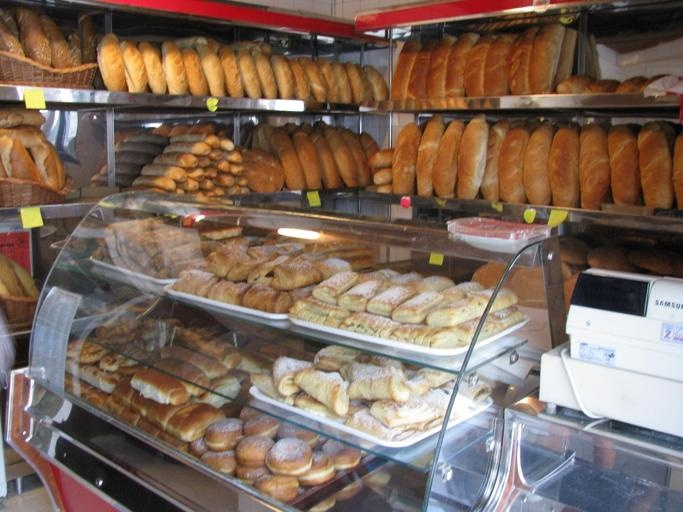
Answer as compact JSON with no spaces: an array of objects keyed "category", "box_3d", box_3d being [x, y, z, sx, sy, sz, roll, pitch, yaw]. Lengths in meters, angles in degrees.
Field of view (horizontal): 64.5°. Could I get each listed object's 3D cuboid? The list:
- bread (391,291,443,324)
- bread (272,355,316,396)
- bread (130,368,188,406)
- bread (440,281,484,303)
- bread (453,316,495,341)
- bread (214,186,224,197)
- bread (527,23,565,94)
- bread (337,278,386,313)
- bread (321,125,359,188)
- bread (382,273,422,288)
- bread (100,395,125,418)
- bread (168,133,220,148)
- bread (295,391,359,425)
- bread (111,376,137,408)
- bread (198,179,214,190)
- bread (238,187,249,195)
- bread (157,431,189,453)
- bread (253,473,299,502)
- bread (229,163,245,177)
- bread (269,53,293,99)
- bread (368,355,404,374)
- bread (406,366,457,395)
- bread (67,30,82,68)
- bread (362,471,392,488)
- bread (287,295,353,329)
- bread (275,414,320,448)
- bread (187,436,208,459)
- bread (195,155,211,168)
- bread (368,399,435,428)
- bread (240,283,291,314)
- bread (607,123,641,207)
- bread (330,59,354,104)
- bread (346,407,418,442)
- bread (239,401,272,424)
[{"category":"bread","box_3d":[0.184,0.126,1.336,0.103,0.033,0.075,-30,19,-21]},{"category":"bread","box_3d":[-0.137,0.330,1.481,0.106,0.101,0.035,0,-14,29]},{"category":"bread","box_3d":[-0.587,0.425,1.735,0.219,0.096,0.073,8,-10,37]},{"category":"bread","box_3d":[0.293,0.088,1.324,0.092,0.028,0.043,-22,30,-10]},{"category":"bread","box_3d":[0.304,0.166,1.239,0.081,0.047,0.053,1,14,13]},{"category":"bread","box_3d":[-0.742,-0.389,3.270,0.066,0.065,0.021,17,-24,-20]},{"category":"bread","box_3d":[1.103,-1.068,2.920,0.138,0.364,0.212,6,16,34]},{"category":"bread","box_3d":[0.044,0.100,1.424,0.068,0.037,0.115,8,33,39]},{"category":"bread","box_3d":[-0.014,-0.702,3.885,0.152,0.533,0.147,3,-27,-38]},{"category":"bread","box_3d":[0.170,0.064,1.444,0.046,0.017,0.061,10,17,42]},{"category":"bread","box_3d":[-0.774,0.510,1.834,0.086,0.047,0.026,27,28,36]},{"category":"bread","box_3d":[-0.869,-0.681,3.199,0.191,0.044,0.050,2,43,30]},{"category":"bread","box_3d":[-0.051,0.390,1.386,0.099,0.028,0.074,25,20,20]},{"category":"bread","box_3d":[-0.733,0.461,1.822,0.085,0.041,0.090,29,27,-25]},{"category":"bread","box_3d":[-0.806,-0.426,3.203,0.067,0.044,0.069,-15,26,-30]},{"category":"bread","box_3d":[-0.600,-0.401,3.329,0.048,0.044,0.021,5,-15,-38]},{"category":"bread","box_3d":[-0.522,0.573,1.658,0.069,0.050,0.021,33,-5,20]},{"category":"bread","box_3d":[-0.170,0.612,1.435,0.115,0.048,0.047,3,14,23]},{"category":"bread","box_3d":[-0.625,-0.517,3.258,0.072,0.034,0.072,-17,24,-39]},{"category":"bread","box_3d":[-0.380,-1.152,3.475,0.083,0.227,0.248,-2,11,7]},{"category":"bread","box_3d":[0.110,0.264,1.328,0.037,0.015,0.051,31,-10,-40]},{"category":"bread","box_3d":[0.210,0.283,1.251,0.062,0.026,0.082,1,-1,-37]},{"category":"bread","box_3d":[-1.429,-1.116,2.898,0.056,0.167,0.085,7,-25,-42]},{"category":"bread","box_3d":[0.086,0.563,1.340,0.051,0.013,0.048,-24,15,23]},{"category":"bread","box_3d":[-0.057,0.135,1.452,0.111,0.031,0.092,18,14,24]},{"category":"bread","box_3d":[-0.118,0.482,1.474,0.097,0.046,0.097,26,-4,2]},{"category":"bread","box_3d":[-0.427,0.574,1.611,0.057,0.032,0.056,22,20,-13]},{"category":"bread","box_3d":[-0.800,-0.554,3.139,0.063,0.059,0.028,1,3,-32]},{"category":"bread","box_3d":[0.146,0.359,1.272,0.095,0.032,0.074,0,1,-31]},{"category":"bread","box_3d":[-0.213,0.126,1.541,0.161,0.058,0.074,10,36,32]},{"category":"bread","box_3d":[1.405,-0.457,2.707,0.137,0.384,0.307,0,13,10]},{"category":"bread","box_3d":[0.007,-1.231,3.825,0.095,0.278,0.137,-7,3,13]},{"category":"bread","box_3d":[0.089,0.391,1.304,0.097,0.028,0.082,11,10,42]},{"category":"bread","box_3d":[-0.240,0.435,1.561,0.079,0.078,0.026,29,59,12]}]
